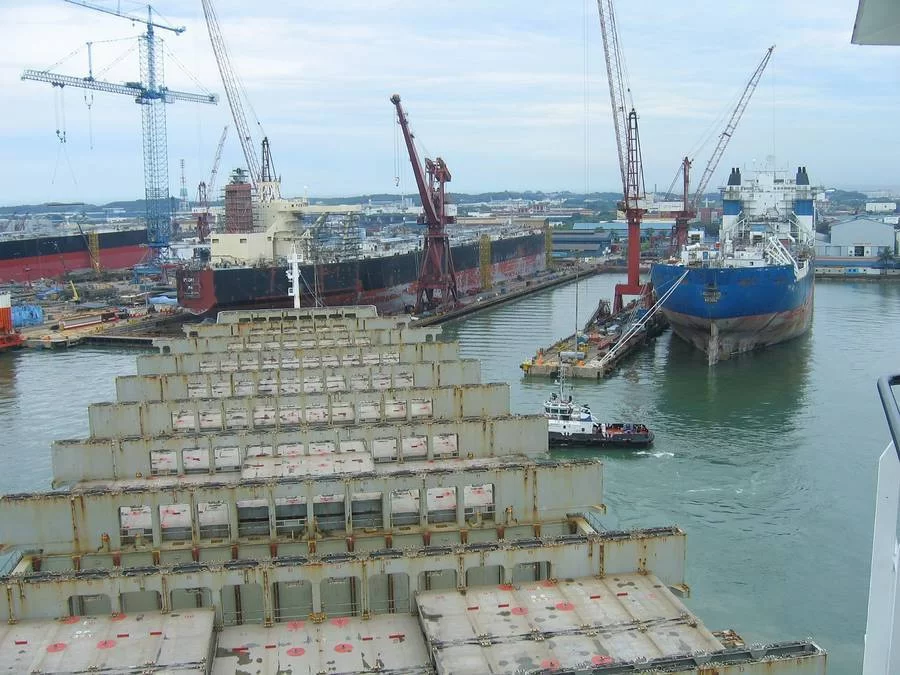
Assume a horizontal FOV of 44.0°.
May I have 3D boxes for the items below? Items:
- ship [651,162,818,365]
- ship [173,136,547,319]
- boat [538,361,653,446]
[{"bbox_3d":[10.734,-3.038,39.379,3.845,5.731,14.283,0,9,26],"label":"ship"},{"bbox_3d":[-0.742,-3.943,52.264,7.087,5.122,33.813,3,12,20],"label":"ship"},{"bbox_3d":[3.174,1.870,24.129,2.312,0.965,0.987,4,12,20],"label":"boat"}]
